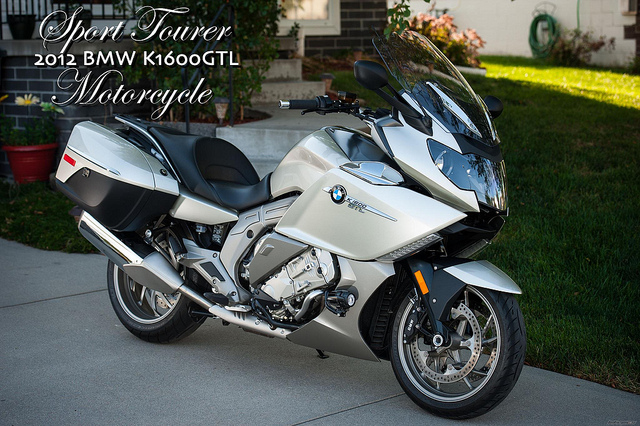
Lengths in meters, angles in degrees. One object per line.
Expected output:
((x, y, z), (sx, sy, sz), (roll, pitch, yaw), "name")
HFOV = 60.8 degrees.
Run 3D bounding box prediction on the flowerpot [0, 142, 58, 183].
((-4.297, -0.771, 8.217), (0.679, 0.510, 0.686), (-2, -3, -37), "flowerpot")
